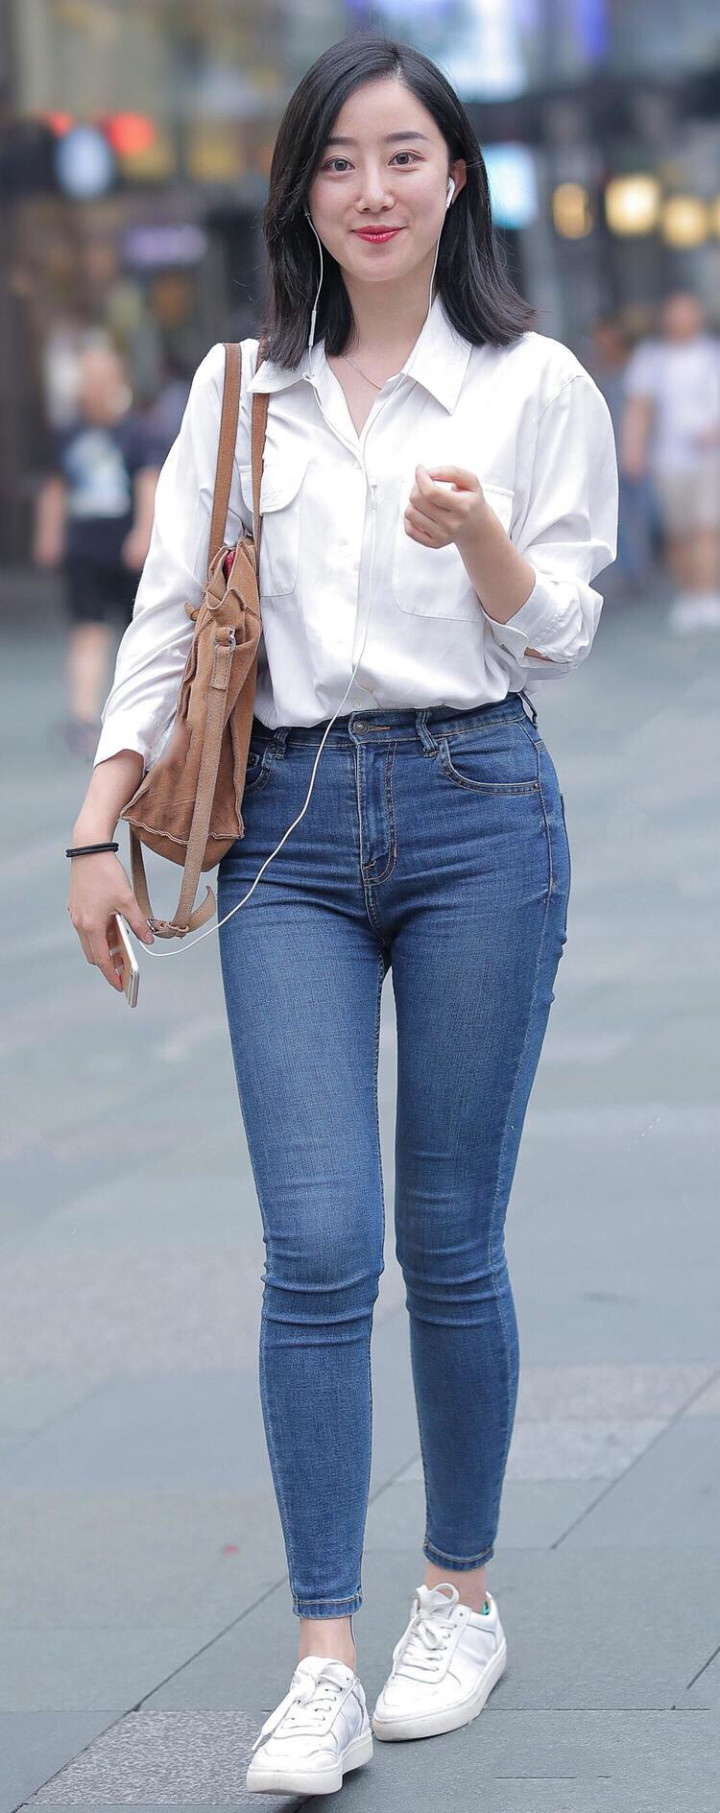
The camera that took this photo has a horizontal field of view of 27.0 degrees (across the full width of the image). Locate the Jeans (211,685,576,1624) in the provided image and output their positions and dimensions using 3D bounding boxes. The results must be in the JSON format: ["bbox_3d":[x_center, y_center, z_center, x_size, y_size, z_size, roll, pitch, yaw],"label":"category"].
[{"bbox_3d":[0.039,0.294,1.642,0.312,0.959,0.294,4,-9,-16],"label":"Jeans"}]

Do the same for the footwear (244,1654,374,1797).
[{"bbox_3d":[-0.048,0.805,1.500,0.061,0.102,0.186,-1,3,13],"label":"footwear"}]

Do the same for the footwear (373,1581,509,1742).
[{"bbox_3d":[0.091,0.847,1.727,0.065,0.108,0.212,-2,5,19],"label":"footwear"}]
